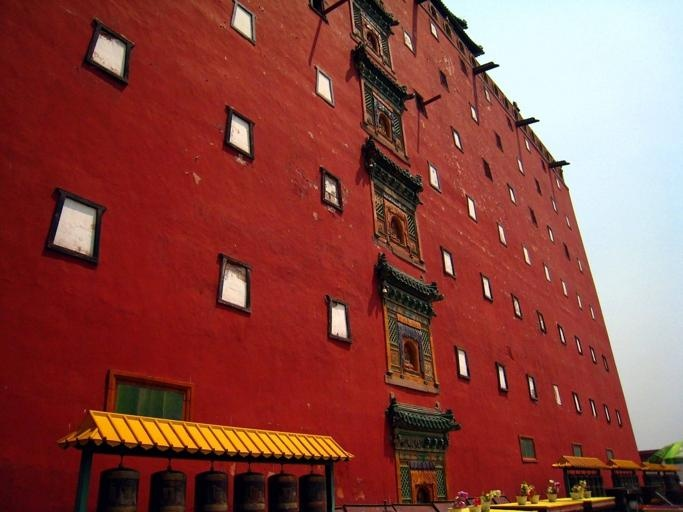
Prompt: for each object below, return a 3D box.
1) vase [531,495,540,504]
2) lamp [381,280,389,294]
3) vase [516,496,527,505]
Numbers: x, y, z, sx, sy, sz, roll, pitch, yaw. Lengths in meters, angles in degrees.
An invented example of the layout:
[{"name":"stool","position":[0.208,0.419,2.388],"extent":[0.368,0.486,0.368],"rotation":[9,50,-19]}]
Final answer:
[{"name":"vase","position":[4.765,6.036,13.395],"extent":[0.223,0.195,0.241],"rotation":[-8,-26,32]},{"name":"lamp","position":[1.065,0.788,13.400],"extent":[0.084,0.278,0.179],"rotation":[-2,-9,-4]},{"name":"vase","position":[4.341,5.902,13.090],"extent":[0.168,0.143,0.189],"rotation":[1,-17,6]}]
